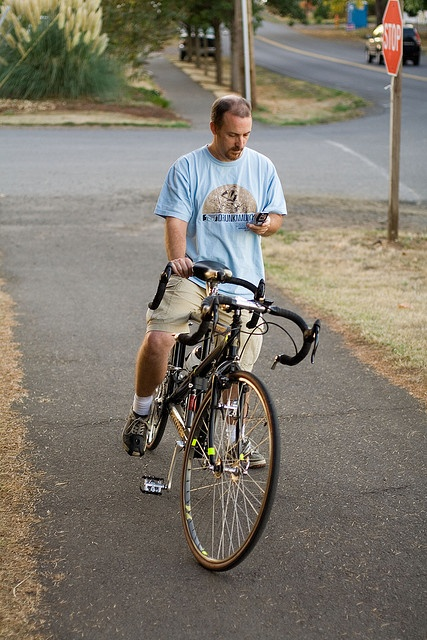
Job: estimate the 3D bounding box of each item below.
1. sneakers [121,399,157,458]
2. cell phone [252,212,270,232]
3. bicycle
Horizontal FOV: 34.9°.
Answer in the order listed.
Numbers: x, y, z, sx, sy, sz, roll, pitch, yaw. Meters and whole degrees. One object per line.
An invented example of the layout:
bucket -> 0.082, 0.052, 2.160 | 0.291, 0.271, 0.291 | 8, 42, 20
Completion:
sneakers -> -0.392, 0.575, 3.417 | 0.095, 0.111, 0.279 | 9, 19, -9
cell phone -> 0.211, -0.438, 2.957 | 0.067, 0.065, 0.101 | 1, 15, 8
bicycle -> 0.030, 0.352, 2.912 | 0.704, 1.258, 1.304 | -3, 16, -7
